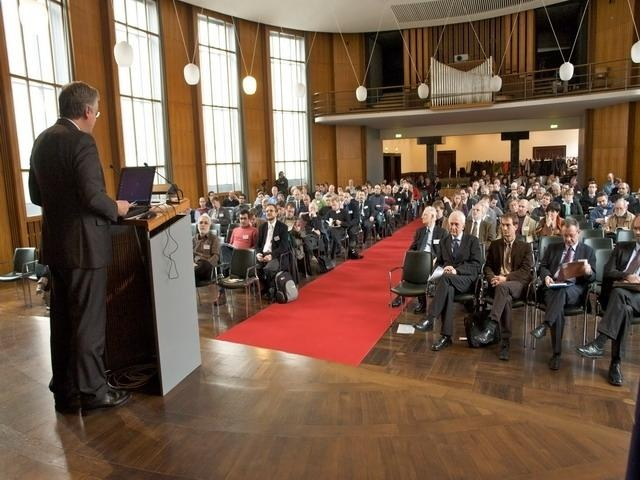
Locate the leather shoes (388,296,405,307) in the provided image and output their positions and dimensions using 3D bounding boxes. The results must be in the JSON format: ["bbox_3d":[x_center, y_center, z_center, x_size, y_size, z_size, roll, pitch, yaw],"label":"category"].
[{"bbox_3d":[1.107,0.875,6.482,0.101,0.151,0.321,5,13,26],"label":"leather shoes"}]

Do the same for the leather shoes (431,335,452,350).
[{"bbox_3d":[1.381,1.181,5.155,0.308,0.161,0.111,2,-5,-39],"label":"leather shoes"}]

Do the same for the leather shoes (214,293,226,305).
[{"bbox_3d":[-1.592,0.947,7.157,0.133,0.274,0.143,0,-2,30],"label":"leather shoes"}]

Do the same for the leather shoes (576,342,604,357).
[{"bbox_3d":[2.754,1.106,4.574,0.303,0.169,0.131,1,1,0],"label":"leather shoes"}]

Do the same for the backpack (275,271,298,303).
[{"bbox_3d":[-0.516,0.738,6.983,0.220,0.519,0.410,-11,-4,37],"label":"backpack"}]

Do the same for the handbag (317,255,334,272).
[{"bbox_3d":[0.081,0.468,8.713,0.245,0.349,0.114,9,-25,-39],"label":"handbag"}]

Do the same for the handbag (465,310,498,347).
[{"bbox_3d":[1.828,0.979,4.969,0.179,0.452,0.591,-6,-22,23],"label":"handbag"}]

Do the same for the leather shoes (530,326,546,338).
[{"bbox_3d":[2.393,0.975,4.881,0.081,0.110,0.246,7,16,42],"label":"leather shoes"}]

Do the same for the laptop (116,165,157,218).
[{"bbox_3d":[-1.626,-0.414,3.697,0.414,0.355,0.389,3,11,20],"label":"laptop"}]

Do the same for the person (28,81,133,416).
[{"bbox_3d":[-1.876,0.076,3.489,0.650,2.557,0.464,4,8,23],"label":"person"}]

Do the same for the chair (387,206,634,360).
[{"bbox_3d":[2.357,0.492,5.058,2.009,1.475,1.107,3,8,19],"label":"chair"}]
